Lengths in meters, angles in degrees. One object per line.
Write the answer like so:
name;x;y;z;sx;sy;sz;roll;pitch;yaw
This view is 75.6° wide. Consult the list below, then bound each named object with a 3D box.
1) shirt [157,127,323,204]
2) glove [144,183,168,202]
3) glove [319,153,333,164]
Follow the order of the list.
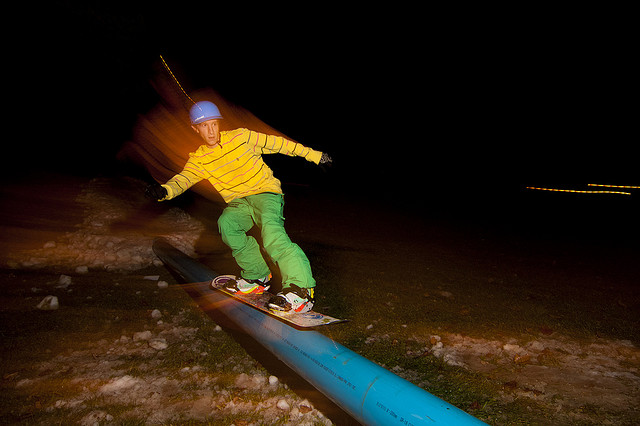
shirt;-1.262;-0.720;6.187;1.494;0.459;1.569;-24;-28;10
glove;-2.332;-0.276;5.827;0.272;0.230;0.214;7;10;21
glove;0.085;-0.802;6.120;0.128;0.073;0.124;1;37;-9
